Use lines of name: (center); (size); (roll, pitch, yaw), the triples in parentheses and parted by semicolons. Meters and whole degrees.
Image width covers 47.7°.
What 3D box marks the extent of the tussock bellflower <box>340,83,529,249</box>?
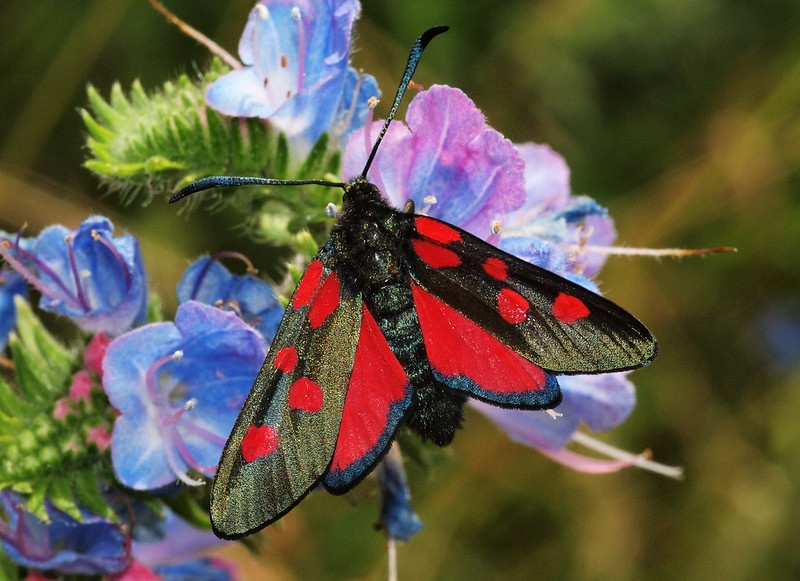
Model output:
tussock bellflower: (0.175, -0.507, 3.420); (0.622, 0.633, 0.196); (49, 20, -8)

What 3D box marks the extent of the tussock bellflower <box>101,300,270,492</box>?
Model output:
tussock bellflower: (-0.808, 0.374, 3.299); (0.565, 0.690, 0.306); (12, 14, -10)

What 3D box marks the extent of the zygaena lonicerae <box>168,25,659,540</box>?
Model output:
zygaena lonicerae: (0.049, 0.321, 3.352); (1.296, 1.219, 0.590); (12, 14, -11)
